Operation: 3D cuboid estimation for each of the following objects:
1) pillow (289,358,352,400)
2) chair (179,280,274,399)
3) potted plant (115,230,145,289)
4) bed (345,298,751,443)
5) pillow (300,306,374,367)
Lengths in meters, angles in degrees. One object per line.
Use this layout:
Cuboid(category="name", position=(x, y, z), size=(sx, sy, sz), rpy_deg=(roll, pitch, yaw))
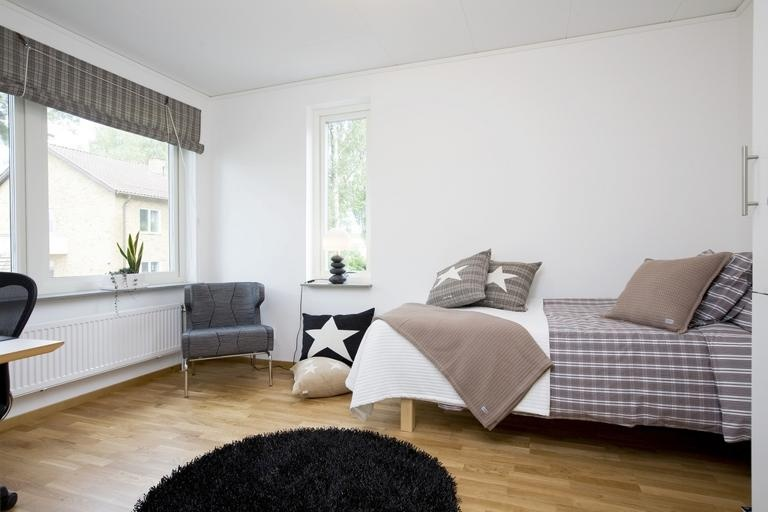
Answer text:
Cuboid(category="pillow", position=(-0.547, 1.060, 4.544), size=(0.484, 0.275, 0.337), rpy_deg=(-1, 11, -5))
Cuboid(category="chair", position=(-1.486, 0.740, 4.911), size=(0.804, 0.916, 0.842), rpy_deg=(-4, 12, -19))
Cuboid(category="potted plant", position=(-2.369, 0.026, 4.825), size=(0.251, 0.471, 0.392), rpy_deg=(-5, 13, -24))
Cuboid(category="bed", position=(1.441, 0.661, 3.472), size=(1.400, 0.373, 1.385), rpy_deg=(-3, 0, 26))
Cuboid(category="pillow", position=(-0.408, 0.733, 4.641), size=(0.507, 0.342, 0.175), rpy_deg=(-4, -12, 16))
